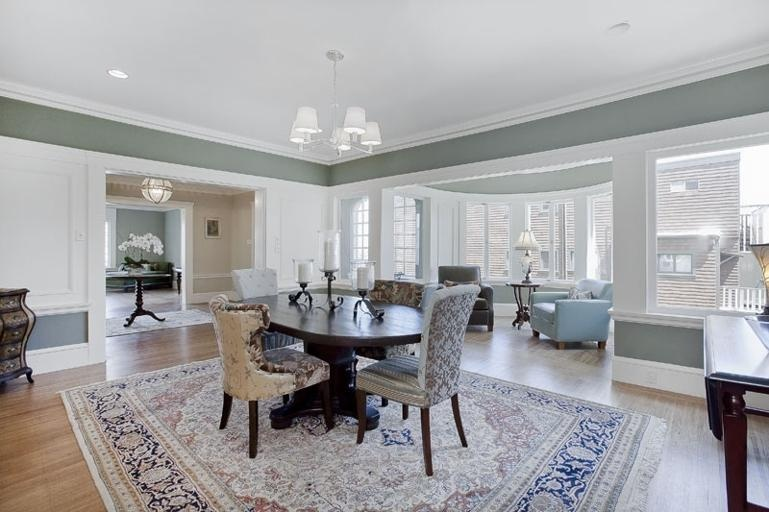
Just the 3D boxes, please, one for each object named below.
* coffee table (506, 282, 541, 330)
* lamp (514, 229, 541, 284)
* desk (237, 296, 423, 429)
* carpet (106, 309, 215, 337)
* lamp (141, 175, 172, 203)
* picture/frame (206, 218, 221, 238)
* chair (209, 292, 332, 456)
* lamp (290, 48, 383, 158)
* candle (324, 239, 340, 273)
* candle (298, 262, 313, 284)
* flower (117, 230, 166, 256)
[{"bbox_3d":[2.256,0.822,7.813,0.731,0.840,0.740,1,-5,-4],"label":"coffee table"},{"bbox_3d":[2.431,-0.022,7.915,0.430,0.923,1.103,-2,1,17],"label":"lamp"},{"bbox_3d":[-0.532,1.105,4.732,1.141,1.062,2.154,10,-1,-12],"label":"desk"},{"bbox_3d":[-3.761,1.098,7.843,1.666,0.142,1.770,-2,0,-32],"label":"carpet"},{"bbox_3d":[-4.276,-1.208,8.689,0.486,0.378,0.411,-3,1,-30],"label":"lamp"},{"bbox_3d":[-3.840,-0.607,10.319,0.053,0.511,0.474,-1,-2,34],"label":"picture/frame"},{"bbox_3d":[-1.235,0.958,4.737,1.265,1.728,1.268,-1,3,-37],"label":"chair"},{"bbox_3d":[-0.530,-1.490,4.862,1.090,0.984,1.003,6,8,43],"label":"lamp"},{"bbox_3d":[-0.538,0.000,4.710,0.097,0.348,0.207,-1,2,32],"label":"candle"},{"bbox_3d":[-0.822,0.183,4.844,0.199,0.219,0.199,2,3,36],"label":"candle"},{"bbox_3d":[-5.999,-0.297,11.301,0.890,0.481,0.801,-2,-4,23],"label":"flower"}]
